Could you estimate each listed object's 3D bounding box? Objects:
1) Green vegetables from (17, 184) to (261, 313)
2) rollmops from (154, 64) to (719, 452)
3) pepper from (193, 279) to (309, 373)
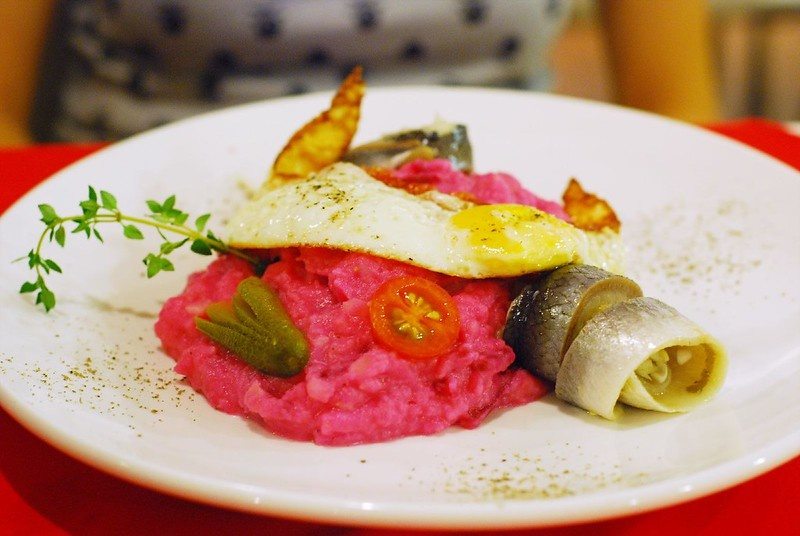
[{"bbox_3d":[-1.385,-0.191,4.103,0.825,1.036,0.751,-10,99,-20],"label":"Green vegetables"},{"bbox_3d":[0.259,0.019,3.931,2.570,0.847,2.072,22,39,18],"label":"rollmops"},{"bbox_3d":[-0.703,0.314,3.709,0.419,0.206,0.651,-22,42,-30],"label":"pepper"}]
